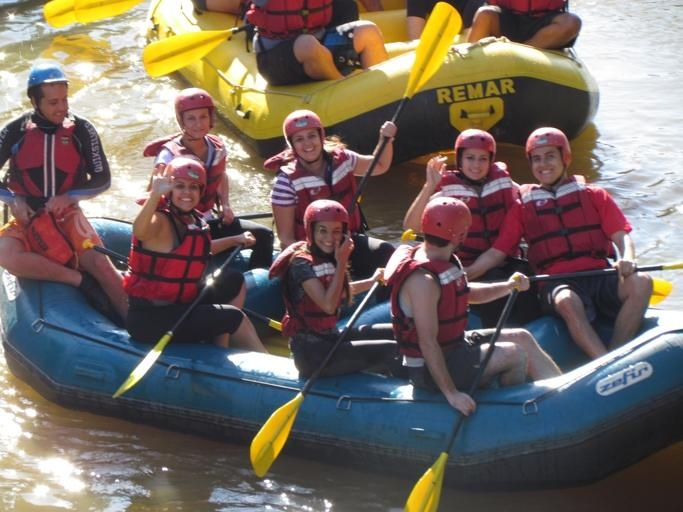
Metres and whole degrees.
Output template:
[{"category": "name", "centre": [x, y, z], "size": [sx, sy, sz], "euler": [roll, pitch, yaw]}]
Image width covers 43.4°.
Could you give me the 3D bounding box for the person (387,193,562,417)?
[{"category": "person", "centre": [0.800, 0.321, 4.975], "size": [0.930, 1.084, 0.579], "euler": [-21, 32, 0]}]

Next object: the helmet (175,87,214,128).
[{"category": "helmet", "centre": [-1.002, -1.028, 5.927], "size": [0.215, 0.266, 0.285], "euler": [1, -9, -17]}]

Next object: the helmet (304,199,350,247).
[{"category": "helmet", "centre": [-0.104, -0.180, 4.917], "size": [0.205, 0.269, 0.237], "euler": [4, 42, -12]}]

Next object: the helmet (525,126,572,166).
[{"category": "helmet", "centre": [1.361, -0.728, 5.600], "size": [0.228, 0.225, 0.289], "euler": [3, 22, 20]}]

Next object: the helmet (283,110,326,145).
[{"category": "helmet", "centre": [-0.262, -0.862, 5.711], "size": [0.196, 0.262, 0.199], "euler": [-2, 46, -8]}]

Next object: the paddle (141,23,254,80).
[{"category": "paddle", "centre": [-1.301, -1.667, 7.005], "size": [1.191, 0.317, 0.059], "euler": [-25, 15, -21]}]

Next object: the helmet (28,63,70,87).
[{"category": "helmet", "centre": [-1.900, -1.158, 5.539], "size": [0.226, 0.101, 0.188], "euler": [-4, 8, 19]}]

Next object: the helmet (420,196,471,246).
[{"category": "helmet", "centre": [0.546, -0.217, 4.683], "size": [0.274, 0.212, 0.197], "euler": [-22, 28, -28]}]

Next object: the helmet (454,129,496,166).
[{"category": "helmet", "centre": [0.896, -0.727, 5.715], "size": [0.204, 0.231, 0.256], "euler": [1, 7, 2]}]

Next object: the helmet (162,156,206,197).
[{"category": "helmet", "centre": [-0.916, -0.474, 5.131], "size": [0.241, 0.207, 0.184], "euler": [11, 5, 18]}]
